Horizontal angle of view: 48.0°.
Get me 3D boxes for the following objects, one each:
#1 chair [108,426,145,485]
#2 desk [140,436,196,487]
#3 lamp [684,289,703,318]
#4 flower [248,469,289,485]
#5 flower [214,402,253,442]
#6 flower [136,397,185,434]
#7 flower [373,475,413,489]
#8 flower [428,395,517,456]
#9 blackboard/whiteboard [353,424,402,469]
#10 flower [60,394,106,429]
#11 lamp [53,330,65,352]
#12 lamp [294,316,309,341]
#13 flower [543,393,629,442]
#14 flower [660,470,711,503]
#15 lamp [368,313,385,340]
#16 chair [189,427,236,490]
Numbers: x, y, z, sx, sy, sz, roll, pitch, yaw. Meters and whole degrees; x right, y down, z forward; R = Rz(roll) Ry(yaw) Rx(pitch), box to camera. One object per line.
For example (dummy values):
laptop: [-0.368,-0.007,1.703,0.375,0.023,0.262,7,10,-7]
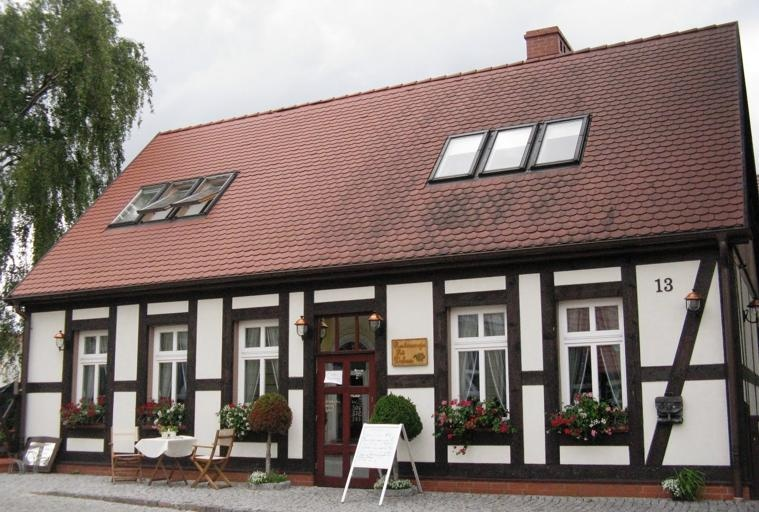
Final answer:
chair: [-5.687,4.453,19.161,0.771,1.235,1.428,7,-16,-16]
desk: [-4.585,4.371,18.388,1.168,1.089,1.863,6,-16,-11]
lamp: [5.792,0.874,15.684,0.390,0.493,0.391,0,0,30]
flower: [-2.273,4.623,17.815,0.848,0.315,0.538,11,-18,-28]
flower: [-3.157,3.612,18.558,0.765,0.532,0.775,1,-2,11]
flower: [-4.903,3.615,19.318,0.915,0.462,0.813,1,1,6]
flower: [0.292,4.486,16.788,0.739,0.230,0.496,2,-16,3]
flower: [1.892,3.380,16.826,1.353,1.213,0.522,1,-3,7]
blackboard/whiteboard: [-0.013,3.714,16.504,0.810,0.951,0.605,-2,-27,21]
flower: [-6.984,3.715,20.176,0.870,0.380,0.843,-4,-5,33]
lamp: [-7.750,2.031,20.661,0.254,0.524,0.437,9,-17,-22]
lamp: [-1.660,1.546,18.288,0.409,0.608,0.394,-2,-4,6]
flower: [3.949,3.087,16.070,0.993,0.622,1.001,-1,0,-31]
flower: [5.489,4.124,15.331,0.580,0.408,0.580,-1,-2,35]
lamp: [-0.080,1.405,17.797,0.322,0.519,0.383,-6,-18,29]
chair: [-3.718,4.304,18.263,0.783,1.021,0.751,-4,-6,9]
